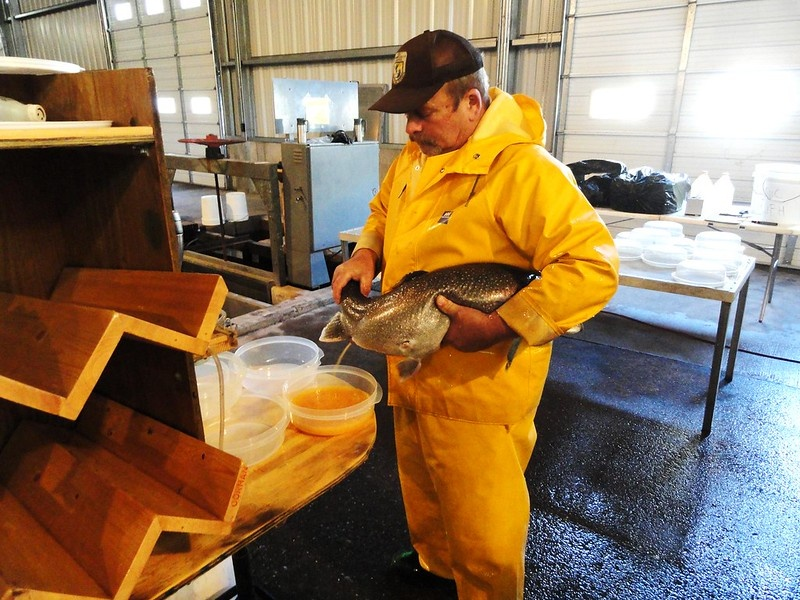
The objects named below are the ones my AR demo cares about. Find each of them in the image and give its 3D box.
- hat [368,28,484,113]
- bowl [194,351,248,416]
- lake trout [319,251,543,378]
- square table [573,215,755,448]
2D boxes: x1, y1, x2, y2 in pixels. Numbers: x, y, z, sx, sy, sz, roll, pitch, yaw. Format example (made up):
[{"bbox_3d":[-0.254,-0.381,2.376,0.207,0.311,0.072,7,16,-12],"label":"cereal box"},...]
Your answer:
[{"bbox_3d":[0.067,-0.730,1.697,0.370,0.191,0.236,-29,38,-4],"label":"hat"},{"bbox_3d":[-0.609,0.276,1.801,0.199,0.086,0.188,-5,29,3],"label":"bowl"},{"bbox_3d":[0.062,0.040,1.646,0.832,0.368,0.298,-4,3,22],"label":"lake trout"},{"bbox_3d":[1.810,0.104,3.628,1.056,0.870,1.185,15,29,33],"label":"square table"}]
